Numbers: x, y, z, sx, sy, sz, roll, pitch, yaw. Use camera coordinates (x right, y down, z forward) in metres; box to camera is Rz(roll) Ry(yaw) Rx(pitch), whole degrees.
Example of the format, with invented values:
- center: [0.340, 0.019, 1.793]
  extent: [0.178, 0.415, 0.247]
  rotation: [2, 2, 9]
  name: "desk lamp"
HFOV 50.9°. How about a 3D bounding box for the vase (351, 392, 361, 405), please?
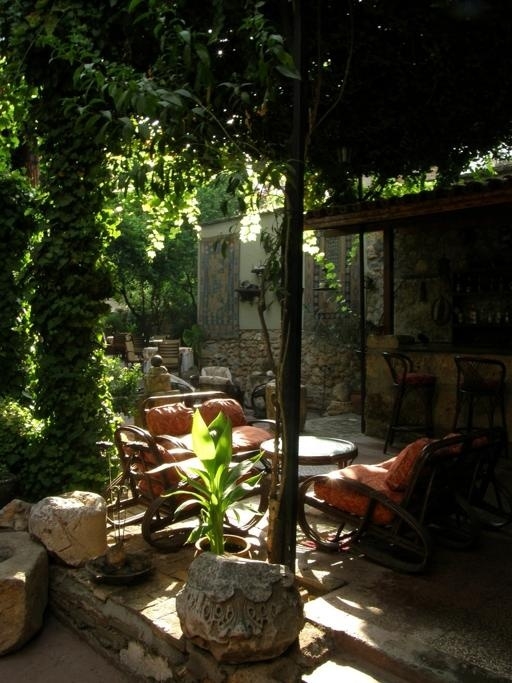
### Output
- center: [1.695, 1.008, 9.172]
  extent: [0.146, 0.200, 0.256]
  rotation: [0, 2, 11]
  name: "vase"
